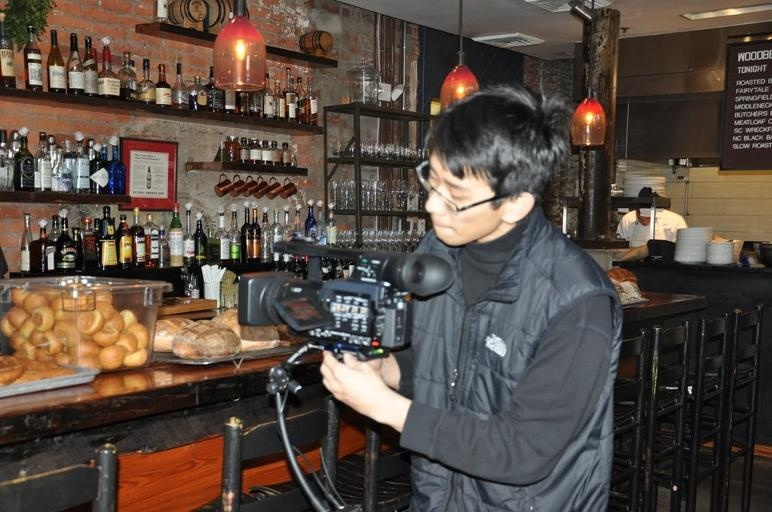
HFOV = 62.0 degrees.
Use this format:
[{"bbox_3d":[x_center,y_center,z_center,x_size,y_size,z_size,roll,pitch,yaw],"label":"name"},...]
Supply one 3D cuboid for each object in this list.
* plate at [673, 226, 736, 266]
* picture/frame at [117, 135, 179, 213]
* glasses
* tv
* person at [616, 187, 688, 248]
[{"bbox_3d":[2.439,-0.073,4.953,0.384,0.266,0.307,-1,7,13],"label":"plate"},{"bbox_3d":[-1.700,-0.575,4.555,0.029,0.664,0.606,2,4,39],"label":"picture/frame"},{"bbox_3d":[0.198,-0.183,1.782,0.177,0.045,0.169,-3,41,-41],"label":"glasses"},{"bbox_3d":[3.225,-1.302,7.119,1.192,0.614,0.755,1,-5,32],"label":"tv"},{"bbox_3d":[2.474,-0.340,6.063,0.730,0.693,0.402,1,-8,33],"label":"person"}]
